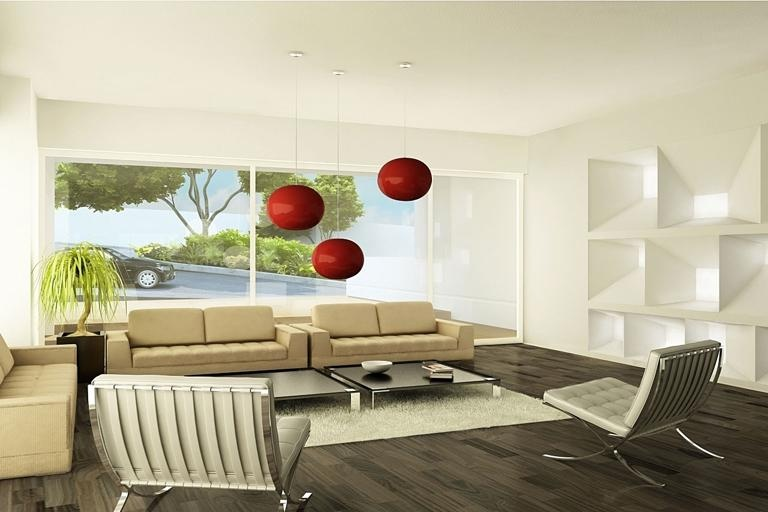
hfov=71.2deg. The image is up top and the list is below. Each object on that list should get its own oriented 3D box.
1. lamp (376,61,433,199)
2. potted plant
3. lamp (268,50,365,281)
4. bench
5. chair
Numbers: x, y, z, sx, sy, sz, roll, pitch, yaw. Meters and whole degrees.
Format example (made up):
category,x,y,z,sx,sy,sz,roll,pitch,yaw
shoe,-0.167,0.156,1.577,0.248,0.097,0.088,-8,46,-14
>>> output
category,x,y,z,sx,sy,sz,roll,pitch,yaw
lamp,0.213,-1.242,5.459,0.596,1.325,0.568,2,15,8
potted plant,-4.081,0.732,7.185,0.974,1.720,0.956,0,-10,5
lamp,-0.811,-0.986,6.204,0.946,2.627,2.333,0,4,-9
bench,-1.228,1.247,3.615,1.238,1.013,0.528,0,4,4
chair,2.236,1.276,4.750,1.137,0.936,1.295,0,-4,-32
